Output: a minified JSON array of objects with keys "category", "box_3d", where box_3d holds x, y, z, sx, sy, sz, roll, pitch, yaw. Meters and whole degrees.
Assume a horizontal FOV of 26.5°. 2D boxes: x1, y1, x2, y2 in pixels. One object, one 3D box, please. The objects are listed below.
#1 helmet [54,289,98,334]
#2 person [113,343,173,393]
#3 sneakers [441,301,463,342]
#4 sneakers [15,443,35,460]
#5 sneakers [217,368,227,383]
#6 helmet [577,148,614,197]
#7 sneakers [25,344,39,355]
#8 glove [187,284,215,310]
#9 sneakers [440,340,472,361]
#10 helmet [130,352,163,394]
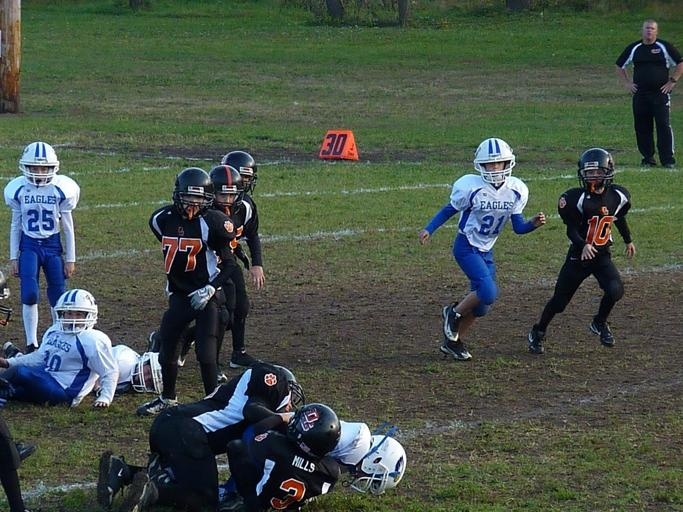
[{"category":"helmet","box_3d":[-3.611,0.670,19.779,0.484,0.458,0.624,0,12,-4]},{"category":"person","box_3d":[-2.747,1.575,19.839,0.734,0.654,0.538,-13,-31,-22]},{"category":"sneakers","box_3d":[1.556,0.928,20.609,0.285,0.575,0.212,-23,-16,38]},{"category":"sneakers","box_3d":[-3.901,2.460,18.013,0.326,0.129,0.157,5,18,19]},{"category":"sneakers","box_3d":[-1.639,1.691,20.261,0.056,0.126,0.183,-41,28,6]},{"category":"helmet","box_3d":[3.584,-1.156,20.747,0.501,0.528,0.625,-1,-13,7]},{"category":"sneakers","box_3d":[-4.366,1.326,20.566,0.116,0.164,0.155,14,5,10]},{"category":"glove","box_3d":[-1.813,0.548,19.172,0.252,0.345,0.127,44,1,13]},{"category":"sneakers","box_3d":[1.709,1.338,20.612,0.536,0.250,0.203,16,26,11]},{"category":"helmet","box_3d":[-2.617,1.634,19.808,0.577,0.463,0.501,-1,22,1]}]
